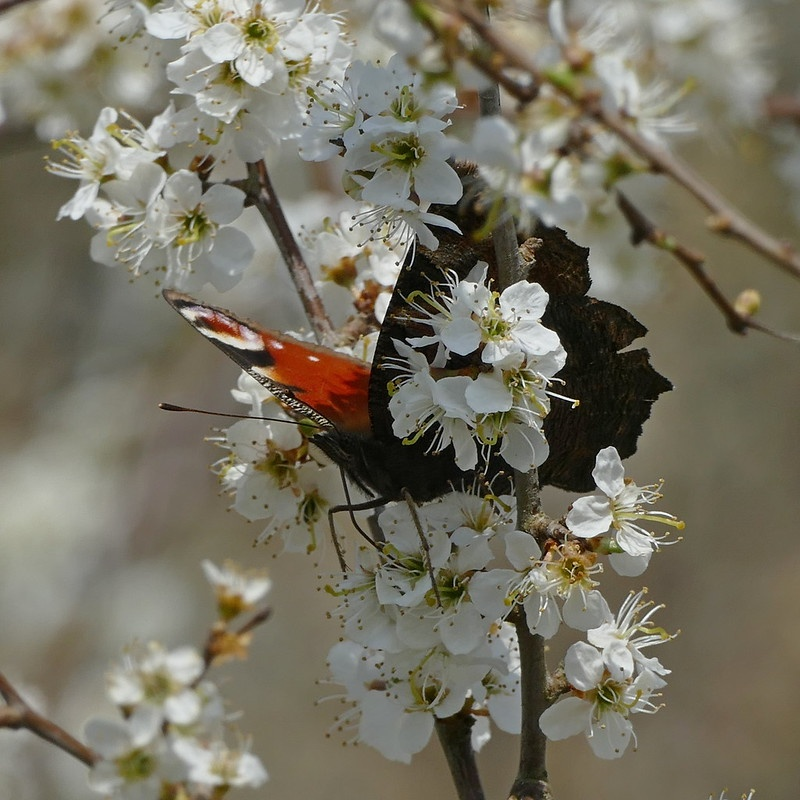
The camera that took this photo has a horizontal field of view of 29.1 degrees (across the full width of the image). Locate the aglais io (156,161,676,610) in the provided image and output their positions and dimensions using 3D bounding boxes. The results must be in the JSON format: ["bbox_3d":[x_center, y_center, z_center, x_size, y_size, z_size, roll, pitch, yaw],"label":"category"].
[{"bbox_3d":[0.049,0.021,1.822,0.547,0.507,0.343,-7,-86,6],"label":"aglais io"}]
